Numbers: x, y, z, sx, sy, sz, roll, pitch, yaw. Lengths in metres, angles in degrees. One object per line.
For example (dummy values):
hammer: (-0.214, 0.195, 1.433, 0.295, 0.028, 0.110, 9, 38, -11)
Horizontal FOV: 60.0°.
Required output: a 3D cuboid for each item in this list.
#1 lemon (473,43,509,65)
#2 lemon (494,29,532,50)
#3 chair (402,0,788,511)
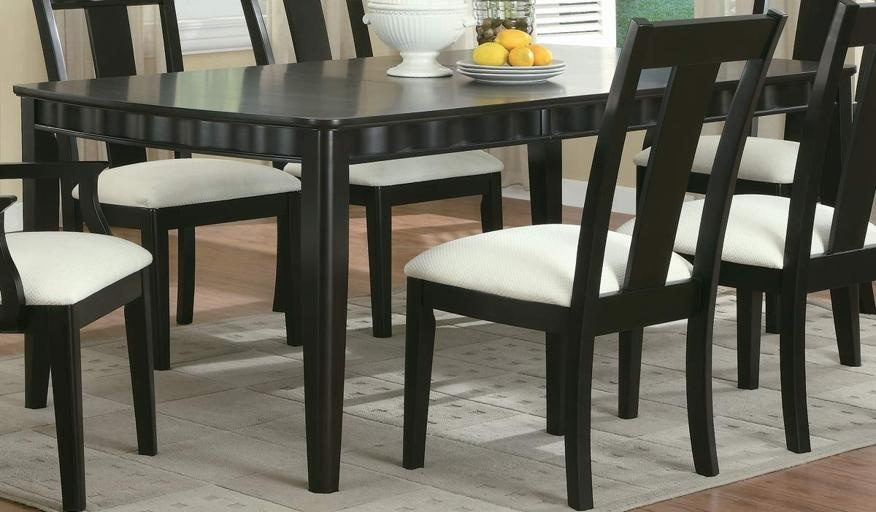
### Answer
lemon: (0.177, -0.662, 2.538, 0.109, 0.047, 0.102, 23, 35, 34)
lemon: (0.249, -0.731, 2.567, 0.144, 0.055, 0.060, -1, 29, -10)
chair: (0.460, 0.015, 2.003, 1.126, 1.239, 0.618, -19, 31, -29)
